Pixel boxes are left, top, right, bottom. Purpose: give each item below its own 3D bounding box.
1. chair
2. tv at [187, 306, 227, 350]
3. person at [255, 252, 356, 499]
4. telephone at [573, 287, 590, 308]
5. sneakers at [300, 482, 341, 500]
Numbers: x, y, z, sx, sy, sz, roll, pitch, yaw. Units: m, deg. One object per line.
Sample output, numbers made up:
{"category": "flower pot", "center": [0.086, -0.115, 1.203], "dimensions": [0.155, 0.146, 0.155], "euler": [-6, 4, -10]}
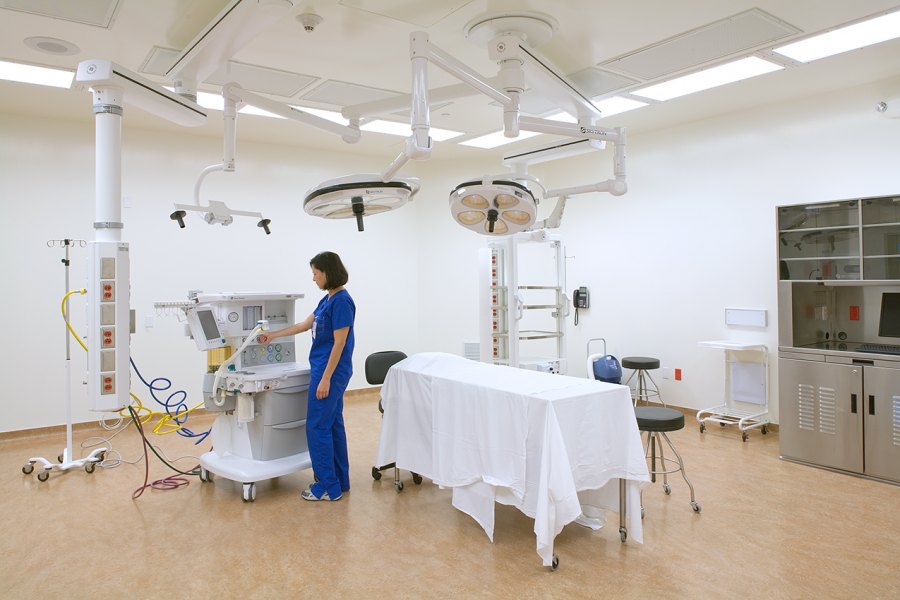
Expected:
{"category": "chair", "center": [-0.568, 1.173, 6.617], "dimensions": [0.731, 1.185, 0.684], "euler": [7, -10, -24]}
{"category": "tv", "center": [-2.127, 0.242, 5.804], "dimensions": [0.278, 0.364, 0.218], "euler": [-8, 15, -29]}
{"category": "person", "center": [-1.120, 0.661, 5.832], "dimensions": [0.644, 2.120, 0.744], "euler": [-4, 14, -14]}
{"category": "telephone", "center": [1.783, -0.017, 8.983], "dimensions": [0.259, 0.385, 0.289], "euler": [2, 0, 2]}
{"category": "sneakers", "center": [-1.128, 1.680, 5.791], "dimensions": [0.338, 0.106, 0.136], "euler": [4, -7, 1]}
